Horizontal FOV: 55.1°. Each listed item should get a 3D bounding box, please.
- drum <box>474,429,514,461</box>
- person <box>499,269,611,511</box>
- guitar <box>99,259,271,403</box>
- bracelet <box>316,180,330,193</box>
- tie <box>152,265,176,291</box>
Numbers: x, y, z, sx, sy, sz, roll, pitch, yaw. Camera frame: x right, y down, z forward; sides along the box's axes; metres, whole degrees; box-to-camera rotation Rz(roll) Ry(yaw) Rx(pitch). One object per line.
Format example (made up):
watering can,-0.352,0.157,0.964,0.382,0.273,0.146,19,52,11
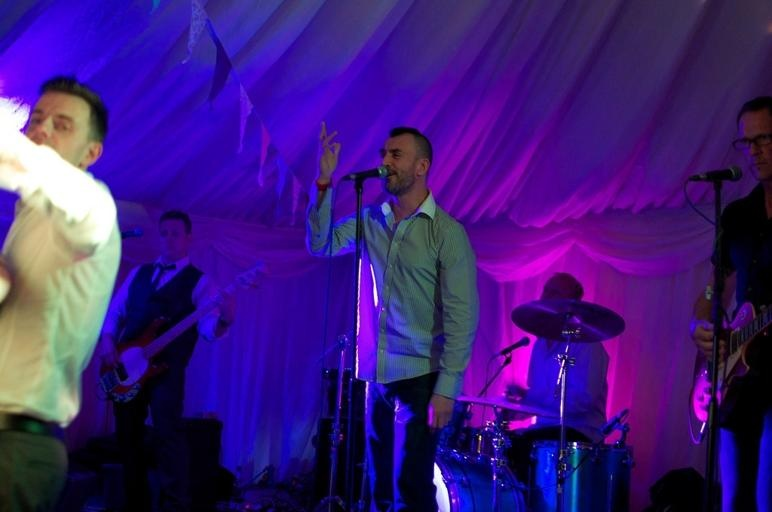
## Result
drum,0.824,1.479,5.824,0.248,0.250,0.233,-2,-47,7
person,1.799,1.035,7.271,0.939,1.737,0.899,-6,-24,18
guitar,-1.895,0.721,6.825,1.516,0.445,0.214,-40,-14,-13
bracelet,-0.421,-0.454,4.922,0.073,0.060,0.059,3,5,8
tie,-2.087,0.201,6.903,0.167,0.253,0.068,2,-20,7
